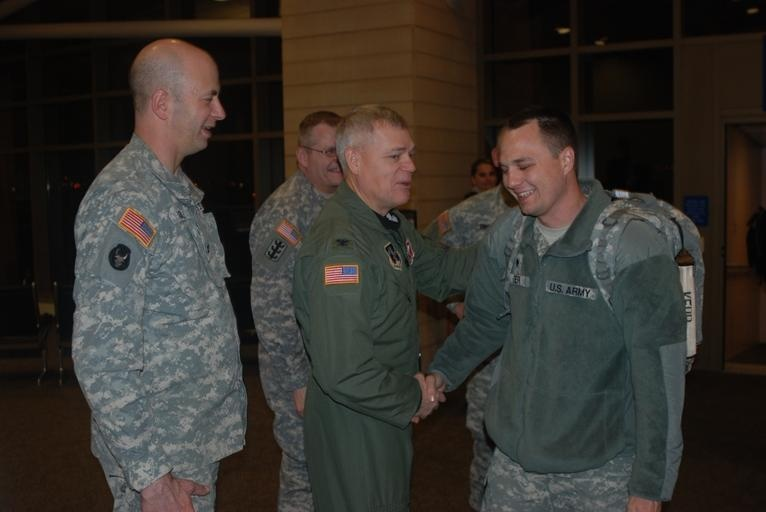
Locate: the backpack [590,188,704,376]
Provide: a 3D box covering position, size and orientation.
[{"bbox_3d":[1.573,0.140,4.568,0.703,0.814,0.383,-1,0,5],"label":"backpack"}]
